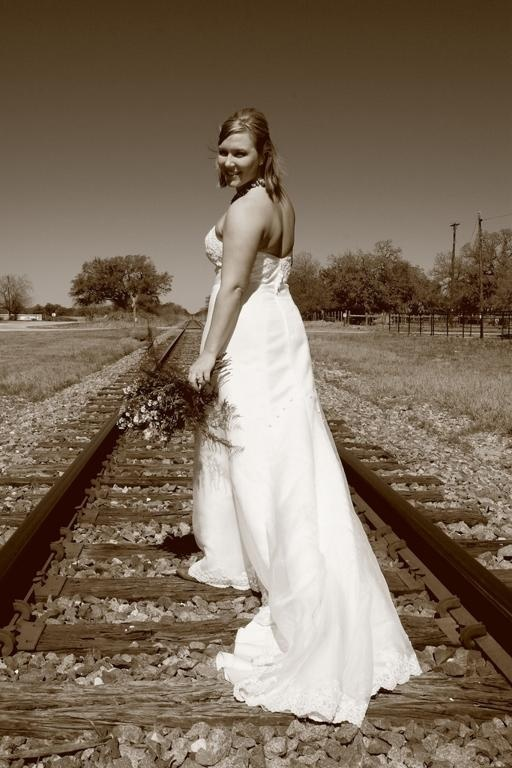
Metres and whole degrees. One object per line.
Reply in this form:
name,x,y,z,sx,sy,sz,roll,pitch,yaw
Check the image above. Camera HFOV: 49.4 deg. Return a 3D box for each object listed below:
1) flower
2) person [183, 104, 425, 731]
flower,-0.429,0.082,2.387,0.299,0.200,0.273,4,13,44
person,0.154,-0.039,2.016,0.668,2.018,0.987,-1,6,-18
